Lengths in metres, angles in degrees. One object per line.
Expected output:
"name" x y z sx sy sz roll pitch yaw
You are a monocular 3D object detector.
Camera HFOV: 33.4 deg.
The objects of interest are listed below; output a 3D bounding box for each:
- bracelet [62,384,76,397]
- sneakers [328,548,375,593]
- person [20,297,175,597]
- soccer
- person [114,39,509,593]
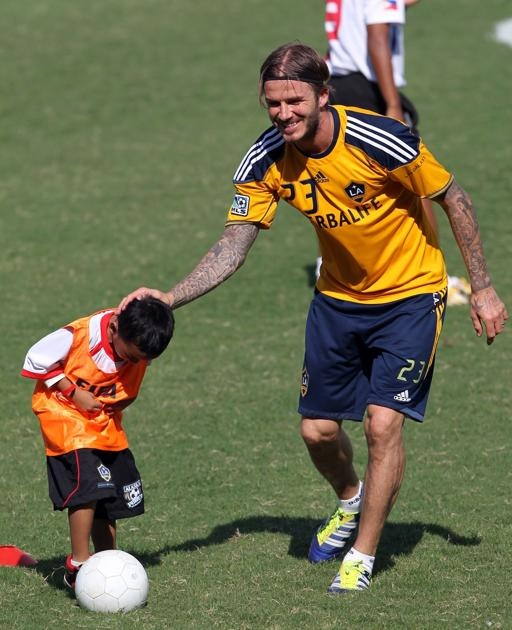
"bracelet" -0.696 0.287 3.192 0.031 0.060 0.023 36 3 -7
"sneakers" 0.382 0.983 3.267 0.102 0.086 0.243 22 23 14
"person" -0.571 0.494 3.263 0.562 1.132 0.383 -5 15 -13
"soccer" -0.526 0.974 3.110 0.258 0.193 0.131 -4 13 -12
"person" 0.359 0.045 3.311 1.207 2.124 0.619 -1 14 3
